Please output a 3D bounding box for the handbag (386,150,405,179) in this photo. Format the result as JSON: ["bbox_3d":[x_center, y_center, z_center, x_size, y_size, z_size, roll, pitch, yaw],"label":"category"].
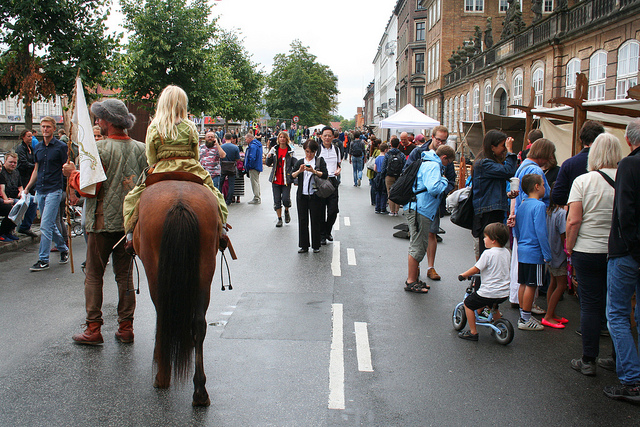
[{"bbox_3d":[2.260,-1.459,15.966,0.596,0.891,0.886,2,-11,1],"label":"handbag"}]

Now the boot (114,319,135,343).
[{"bbox_3d":[-2.467,1.515,6.705,0.147,0.267,0.356,2,2,-26],"label":"boot"}]

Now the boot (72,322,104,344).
[{"bbox_3d":[-2.859,1.512,6.655,0.415,0.334,0.191,3,-4,16],"label":"boot"}]

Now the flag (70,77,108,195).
[{"bbox_3d":[-2.917,-0.984,6.693,0.306,1.438,0.633,-4,9,-24],"label":"flag"}]

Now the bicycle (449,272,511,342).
[{"bbox_3d":[2.131,1.237,7.053,0.932,0.962,0.541,13,27,42],"label":"bicycle"}]

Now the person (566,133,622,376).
[{"bbox_3d":[3.174,0.469,6.235,0.522,2.790,0.648,4,9,29],"label":"person"}]

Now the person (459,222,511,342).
[{"bbox_3d":[2.188,0.919,7.042,0.743,1.492,0.369,-5,9,-26],"label":"person"}]

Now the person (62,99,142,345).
[{"bbox_3d":[-2.832,0.139,6.957,1.001,3.145,0.956,2,-5,-29],"label":"person"}]

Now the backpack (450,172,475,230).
[{"bbox_3d":[2.247,-0.192,8.308,0.352,0.910,0.256,2,8,16],"label":"backpack"}]

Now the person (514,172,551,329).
[{"bbox_3d":[3.007,0.522,7.509,0.495,2.150,0.763,3,9,22],"label":"person"}]

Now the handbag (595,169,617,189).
[{"bbox_3d":[3.331,-0.396,6.170,0.041,0.035,0.303,-29,63,-20],"label":"handbag"}]

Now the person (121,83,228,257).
[{"bbox_3d":[-1.691,-0.404,6.211,1.184,2.119,0.805,-5,-3,-5],"label":"person"}]

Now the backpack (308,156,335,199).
[{"bbox_3d":[0.001,-0.567,11.048,0.515,0.549,0.251,0,8,2],"label":"backpack"}]

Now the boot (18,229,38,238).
[{"bbox_3d":[-6.764,0.459,12.239,0.383,0.227,0.387,-6,10,-32],"label":"boot"}]

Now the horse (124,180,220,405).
[{"bbox_3d":[-1.807,0.628,6.753,0.902,2.779,3.617,2,-4,-16],"label":"horse"}]

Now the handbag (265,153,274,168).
[{"bbox_3d":[-1.456,-1.535,15.370,0.245,0.363,0.122,0,11,-5],"label":"handbag"}]
